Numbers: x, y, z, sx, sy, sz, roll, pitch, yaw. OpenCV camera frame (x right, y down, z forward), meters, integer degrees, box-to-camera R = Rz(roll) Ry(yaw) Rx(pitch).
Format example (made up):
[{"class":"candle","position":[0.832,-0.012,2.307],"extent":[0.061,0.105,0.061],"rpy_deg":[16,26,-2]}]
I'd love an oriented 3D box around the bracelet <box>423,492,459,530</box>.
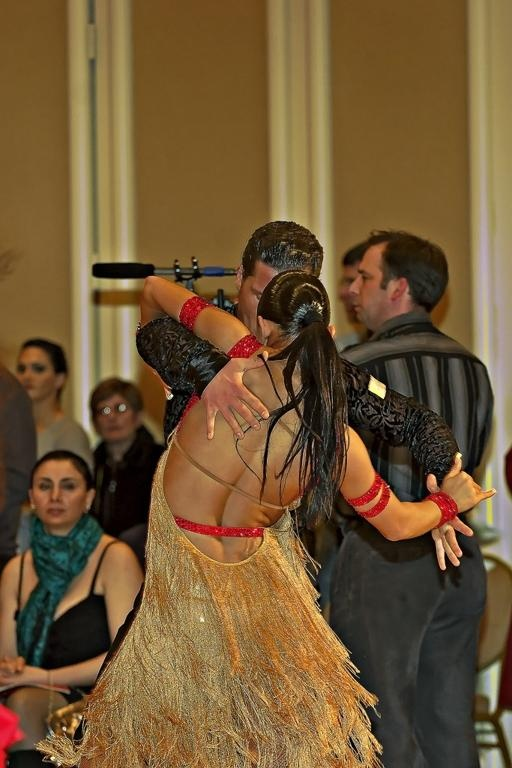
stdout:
[{"class":"bracelet","position":[0.378,0.266,1.529],"extent":[0.036,0.068,0.055],"rpy_deg":[-36,55,-25]}]
